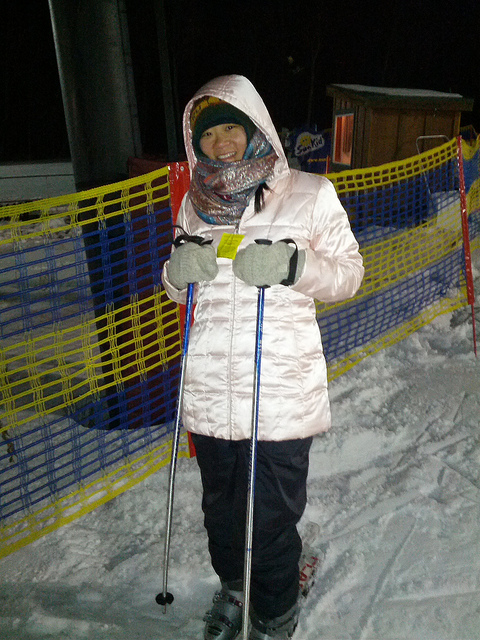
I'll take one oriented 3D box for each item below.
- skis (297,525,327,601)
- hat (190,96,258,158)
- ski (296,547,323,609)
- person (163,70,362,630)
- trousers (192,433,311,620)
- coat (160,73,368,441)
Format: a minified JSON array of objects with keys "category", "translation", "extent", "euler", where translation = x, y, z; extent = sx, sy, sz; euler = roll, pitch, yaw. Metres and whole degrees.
[{"category":"skis","translation":[0.326,1.149,2.406],"extent":[0.120,0.056,0.233],"euler":[-45,-11,-8]},{"category":"hat","translation":[-0.069,-0.672,1.864],"extent":[0.205,0.222,0.201],"euler":[-10,24,-24]},{"category":"ski","translation":[0.313,1.126,2.330],"extent":[0.074,0.104,0.238],"euler":[-7,34,29]},{"category":"person","translation":[0.073,0.191,1.899],"extent":[0.724,2.105,0.511],"euler":[-1,7,13]},{"category":"trousers","translation":[0.049,0.762,1.977],"extent":[0.407,0.743,0.261],"euler":[5,10,45]},{"category":"coat","translation":[0.059,-0.226,1.894],"extent":[0.701,1.279,0.380],"euler":[1,8,26]}]
